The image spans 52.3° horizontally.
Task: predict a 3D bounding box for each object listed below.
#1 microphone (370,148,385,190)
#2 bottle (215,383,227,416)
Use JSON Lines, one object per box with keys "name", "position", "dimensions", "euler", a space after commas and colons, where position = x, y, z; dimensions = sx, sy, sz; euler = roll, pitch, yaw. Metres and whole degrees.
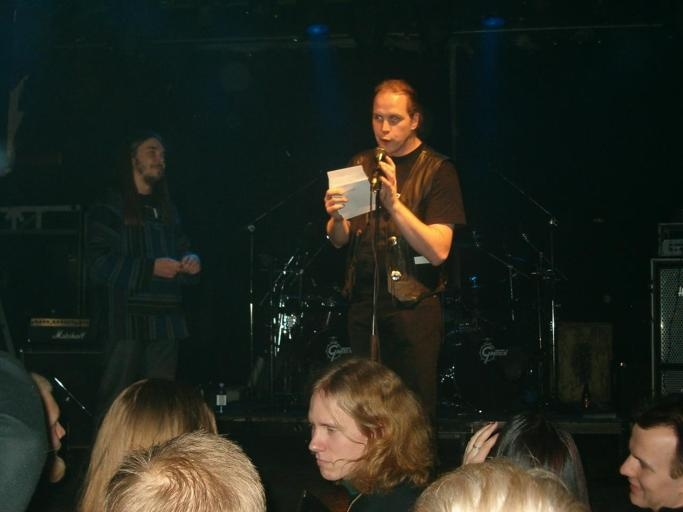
{"name": "microphone", "position": [0.214, -0.495, 4.004], "dimensions": [0.080, 0.277, 0.224], "euler": [0, -11, 4]}
{"name": "bottle", "position": [-1.053, 1.262, 6.047], "dimensions": [0.171, 0.319, 0.170], "euler": [-1, -10, 0]}
